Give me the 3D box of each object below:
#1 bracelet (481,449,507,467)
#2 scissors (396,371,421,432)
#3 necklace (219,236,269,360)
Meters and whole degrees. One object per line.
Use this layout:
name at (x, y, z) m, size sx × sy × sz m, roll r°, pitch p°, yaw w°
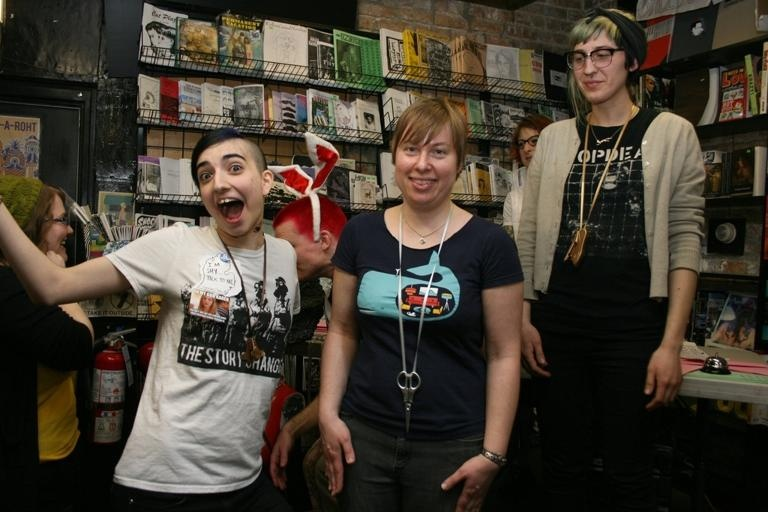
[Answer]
bracelet at (0.410, 0.737, 2.217) m, size 0.068 × 0.028 × 0.064 m, roll 19°, pitch -6°, yaw 37°
scissors at (0.089, 0.527, 2.223) m, size 0.088 × 0.211 × 0.017 m, roll 1°, pitch -7°, yaw 10°
necklace at (-0.515, 0.150, 2.382) m, size 0.142 × 0.491 × 0.052 m, roll -2°, pitch -35°, yaw -16°
